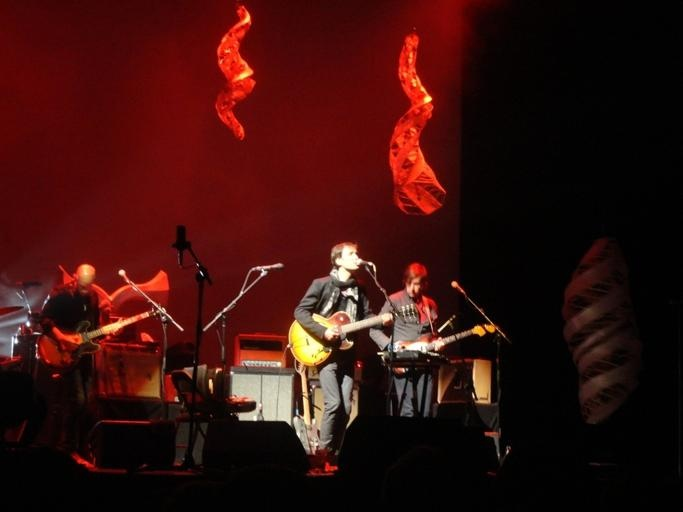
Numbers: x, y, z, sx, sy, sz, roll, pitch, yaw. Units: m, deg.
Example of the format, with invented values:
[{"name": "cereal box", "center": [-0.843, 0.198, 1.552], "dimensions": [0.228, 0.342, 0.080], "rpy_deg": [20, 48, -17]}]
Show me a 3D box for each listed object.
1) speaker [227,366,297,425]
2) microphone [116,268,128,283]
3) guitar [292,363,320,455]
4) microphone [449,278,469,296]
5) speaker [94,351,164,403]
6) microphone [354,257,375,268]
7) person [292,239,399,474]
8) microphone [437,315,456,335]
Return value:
[{"name": "speaker", "center": [-0.815, 1.483, 8.029], "dimensions": [0.889, 0.958, 0.563], "rpy_deg": [1, -5, -3]}, {"name": "microphone", "center": [-2.768, 0.251, 8.964], "dimensions": [0.078, 0.093, 0.304], "rpy_deg": [22, 6, -33]}, {"name": "guitar", "center": [-0.374, 1.698, 7.820], "dimensions": [0.132, 1.017, 0.362], "rpy_deg": [-7, -38, -6]}, {"name": "microphone", "center": [1.510, 0.402, 9.057], "dimensions": [0.096, 0.098, 0.280], "rpy_deg": [35, 1, -38]}, {"name": "speaker", "center": [-2.341, 1.327, 7.933], "dimensions": [0.766, 0.598, 0.492], "rpy_deg": [2, -4, -4]}, {"name": "microphone", "center": [0.267, 0.073, 8.275], "dimensions": [0.211, 0.079, 0.058], "rpy_deg": [12, -39, 50]}, {"name": "person", "center": [0.035, 1.128, 7.584], "dimensions": [1.121, 3.025, 1.119], "rpy_deg": [-20, -30, 38]}, {"name": "microphone", "center": [1.306, 0.871, 8.856], "dimensions": [0.081, 0.357, 0.112], "rpy_deg": [38, -9, 4]}]
